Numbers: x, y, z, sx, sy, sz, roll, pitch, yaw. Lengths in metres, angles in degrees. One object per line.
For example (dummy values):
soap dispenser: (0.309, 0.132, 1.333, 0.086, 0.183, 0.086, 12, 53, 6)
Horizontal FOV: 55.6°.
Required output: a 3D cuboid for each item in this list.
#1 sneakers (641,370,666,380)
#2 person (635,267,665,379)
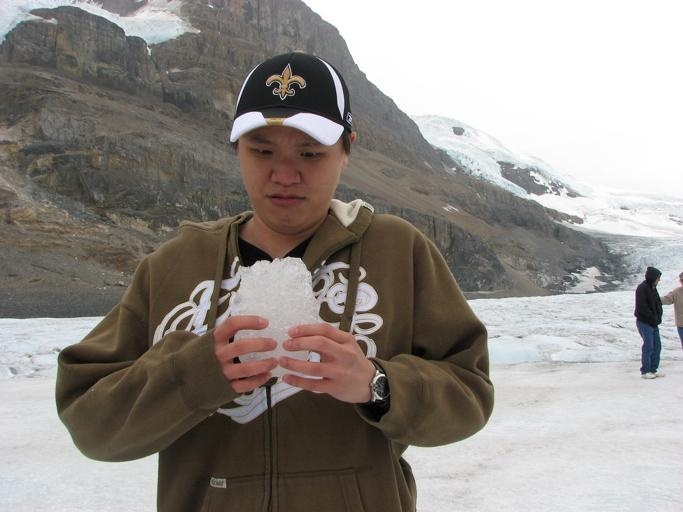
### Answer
sneakers: (4.151, 1.579, 8.599, 0.335, 0.121, 0.106, -5, 1, 7)
person: (4.140, 0.890, 8.754, 0.324, 1.443, 0.797, 1, 3, 24)
